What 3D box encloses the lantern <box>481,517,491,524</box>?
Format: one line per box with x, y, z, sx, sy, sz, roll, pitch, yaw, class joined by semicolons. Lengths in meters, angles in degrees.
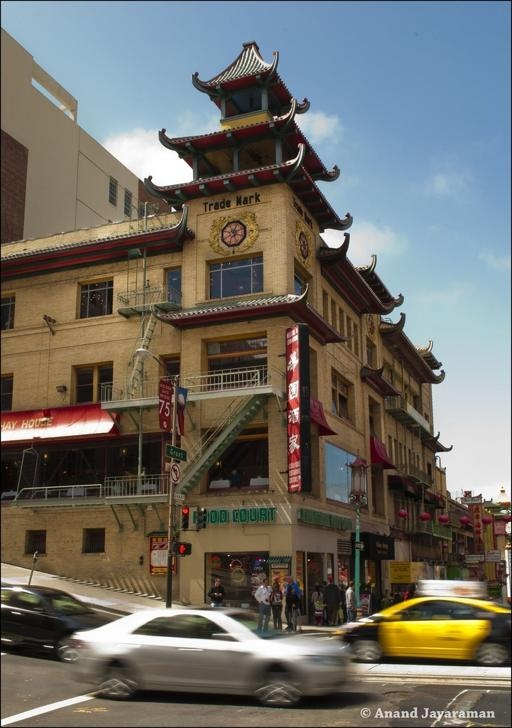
16.415;11.016;63.521;0.715;0.383;0.724;-7;-8;43;lantern

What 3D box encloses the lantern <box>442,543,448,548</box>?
13.449;12.833;63.927;0.396;0.384;0.400;-12;-16;3;lantern

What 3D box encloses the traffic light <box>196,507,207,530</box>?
-1.931;5.563;32.263;0.388;0.795;0.860;-3;-7;1;traffic light

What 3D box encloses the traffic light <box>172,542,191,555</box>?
-2.149;5.502;26.887;0.678;0.503;0.281;2;4;-1;traffic light
